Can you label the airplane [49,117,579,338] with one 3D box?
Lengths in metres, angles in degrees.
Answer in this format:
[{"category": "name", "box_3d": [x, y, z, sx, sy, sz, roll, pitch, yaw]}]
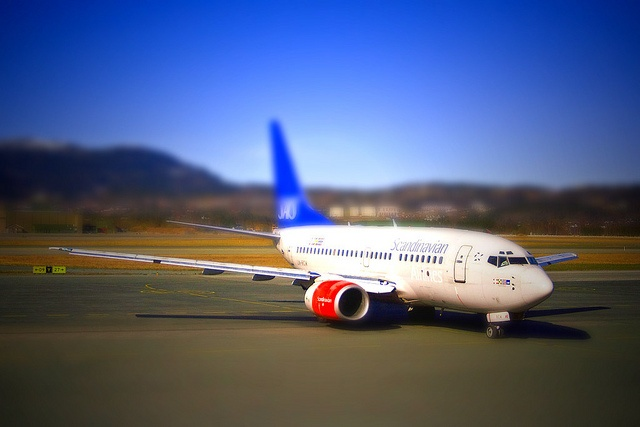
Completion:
[{"category": "airplane", "box_3d": [-2.565, 0.312, 30.176, 17.981, 10.521, 19.134, -2, 6, -25]}]
